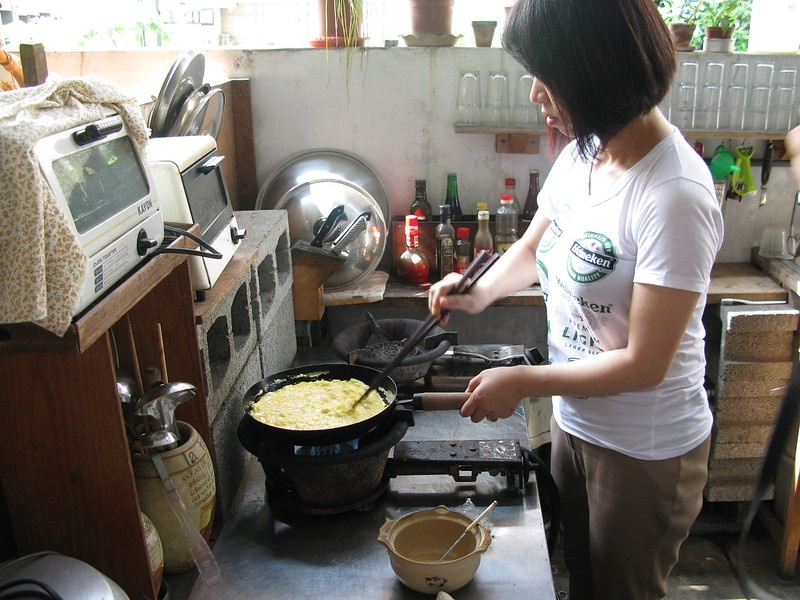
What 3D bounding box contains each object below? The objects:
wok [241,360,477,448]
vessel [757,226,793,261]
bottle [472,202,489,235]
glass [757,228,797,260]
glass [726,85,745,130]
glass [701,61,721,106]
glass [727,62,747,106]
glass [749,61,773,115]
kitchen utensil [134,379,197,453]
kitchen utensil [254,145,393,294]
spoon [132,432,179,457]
[{"bbox_3d":[-0.197,0.293,1.711,0.435,0.068,0.269,0,13,-7],"label":"wok"},{"bbox_3d":[1.956,-0.299,3.167,0.162,0.158,0.165,-1,9,19],"label":"vessel"},{"bbox_3d":[0.422,-0.430,3.004,0.098,0.159,0.101,-1,10,0],"label":"bottle"},{"bbox_3d":[1.936,-0.285,3.102,0.163,0.160,0.168,1,15,22],"label":"glass"},{"bbox_3d":[1.611,-0.917,2.881,0.081,0.191,0.069,6,25,20],"label":"glass"},{"bbox_3d":[1.506,-1.036,2.915,0.098,0.213,0.047,2,3,2],"label":"glass"},{"bbox_3d":[1.626,-1.023,2.909,0.098,0.215,0.044,5,0,9],"label":"glass"},{"bbox_3d":[1.718,-1.005,2.865,0.103,0.227,0.045,5,11,12],"label":"glass"},{"bbox_3d":[-0.516,0.251,1.369,0.148,0.136,0.155,9,47,-35],"label":"kitchen utensil"},{"bbox_3d":[-0.281,-0.430,2.873,0.695,0.734,0.163,-5,5,18],"label":"kitchen utensil"},{"bbox_3d":[-0.528,0.307,1.311,0.058,0.017,0.065,7,14,12],"label":"spoon"}]
